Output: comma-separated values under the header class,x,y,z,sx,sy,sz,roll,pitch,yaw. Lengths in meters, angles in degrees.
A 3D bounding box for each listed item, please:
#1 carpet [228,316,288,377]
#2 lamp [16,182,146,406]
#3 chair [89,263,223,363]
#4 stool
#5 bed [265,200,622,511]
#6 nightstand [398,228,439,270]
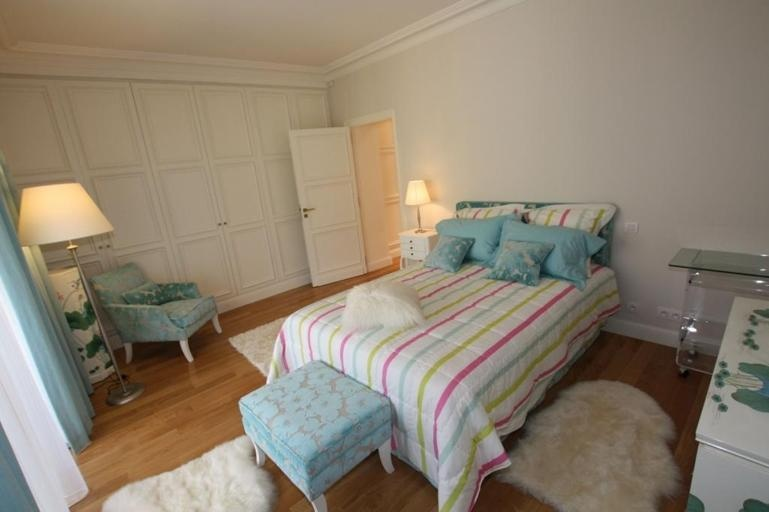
class,x,y,z,sx,sy,sz,roll,pitch,yaw
carpet,-1.393,0.965,5.129,0.492,0.023,0.546,16,24,32
lamp,-2.927,0.347,4.549,1.053,2.076,0.691,9,23,43
chair,-2.501,0.575,5.185,1.025,0.888,0.744,0,16,9
stool,-0.500,1.342,3.645,0.797,0.768,0.873,-21,22,-41
bed,0.908,0.635,4.199,1.947,1.189,2.747,14,26,41
nightstand,0.399,-0.164,5.918,0.504,0.669,0.463,10,16,40
